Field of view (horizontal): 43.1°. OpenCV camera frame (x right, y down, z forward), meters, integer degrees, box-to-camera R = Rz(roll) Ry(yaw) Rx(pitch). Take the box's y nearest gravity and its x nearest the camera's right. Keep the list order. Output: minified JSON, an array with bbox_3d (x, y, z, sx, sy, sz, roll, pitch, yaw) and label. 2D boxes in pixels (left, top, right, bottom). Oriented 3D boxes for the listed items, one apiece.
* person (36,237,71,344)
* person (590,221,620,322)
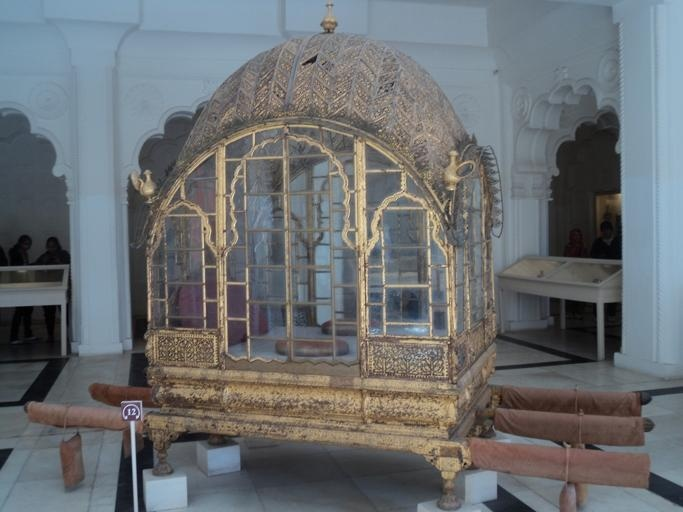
[{"bbox_3d":[-4.075,0.415,12.150,0.465,1.461,1.694,-1,-1,-19],"label":"person"},{"bbox_3d":[3.852,0.165,12.575,0.409,1.002,0.739,-2,-1,16],"label":"person"}]
